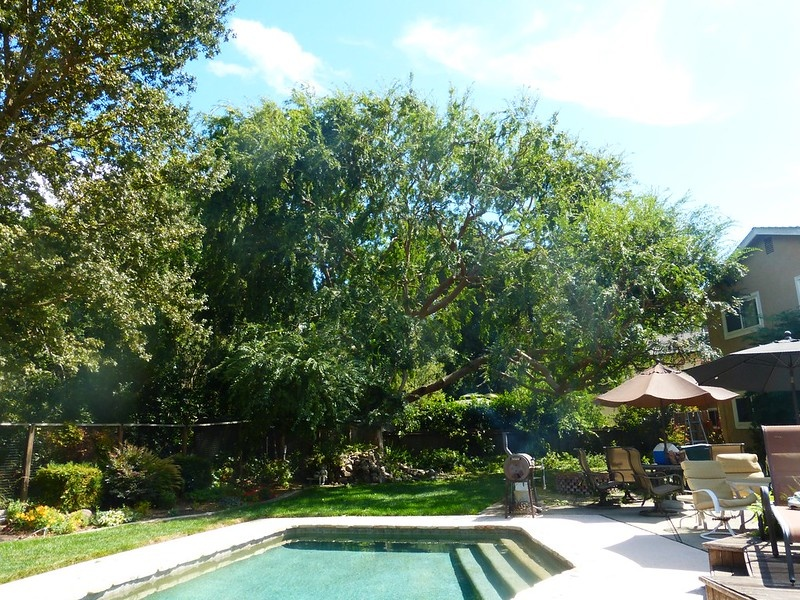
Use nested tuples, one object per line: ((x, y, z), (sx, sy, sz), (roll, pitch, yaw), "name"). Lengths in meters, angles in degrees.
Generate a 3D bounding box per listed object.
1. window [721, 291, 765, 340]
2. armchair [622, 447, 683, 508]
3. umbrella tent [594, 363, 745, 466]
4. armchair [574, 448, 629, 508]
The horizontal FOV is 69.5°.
((14.694, 0.684, 24.819), (2.012, 1.572, 0.139), (-13, 5, -12), "window")
((6.489, 4.598, 14.874), (1.010, 1.606, 1.624), (-9, -18, 20), "armchair")
((6.394, 2.499, 14.073), (3.100, 2.388, 3.393), (1, -22, 13), "umbrella tent")
((5.850, 5.049, 16.659), (1.456, 2.040, 1.502), (-3, -11, 15), "armchair")
